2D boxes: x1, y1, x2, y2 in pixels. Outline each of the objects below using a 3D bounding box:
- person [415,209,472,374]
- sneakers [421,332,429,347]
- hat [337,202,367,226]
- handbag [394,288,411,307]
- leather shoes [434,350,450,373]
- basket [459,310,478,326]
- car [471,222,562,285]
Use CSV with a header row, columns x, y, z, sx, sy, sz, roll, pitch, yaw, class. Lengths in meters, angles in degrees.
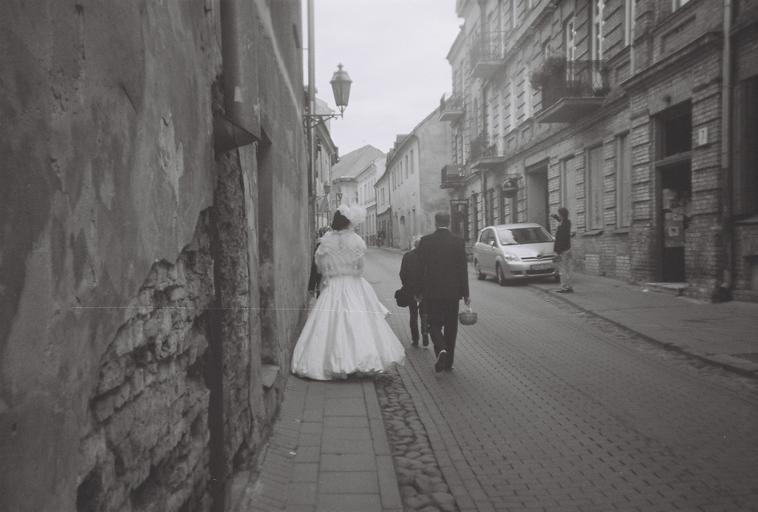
x,y,z,sx,sy,sz,roll,pitch,yaw,class
0.707,0.377,7.117,0.602,1.595,0.721,-10,2,9,person
0.620,1.103,8.555,0.053,0.195,0.071,-2,22,6,sneakers
-0.249,-0.485,7.279,0.288,0.154,0.216,26,-28,-37,hat
0.312,0.550,8.354,0.211,0.221,0.174,4,-7,-37,handbag
0.689,1.125,6.900,0.113,0.262,0.096,-6,14,-24,leather shoes
0.893,0.628,6.476,0.159,0.143,0.376,-12,2,5,basket
3.215,-0.066,15.598,0.999,1.007,2.129,-2,-4,-10,car
